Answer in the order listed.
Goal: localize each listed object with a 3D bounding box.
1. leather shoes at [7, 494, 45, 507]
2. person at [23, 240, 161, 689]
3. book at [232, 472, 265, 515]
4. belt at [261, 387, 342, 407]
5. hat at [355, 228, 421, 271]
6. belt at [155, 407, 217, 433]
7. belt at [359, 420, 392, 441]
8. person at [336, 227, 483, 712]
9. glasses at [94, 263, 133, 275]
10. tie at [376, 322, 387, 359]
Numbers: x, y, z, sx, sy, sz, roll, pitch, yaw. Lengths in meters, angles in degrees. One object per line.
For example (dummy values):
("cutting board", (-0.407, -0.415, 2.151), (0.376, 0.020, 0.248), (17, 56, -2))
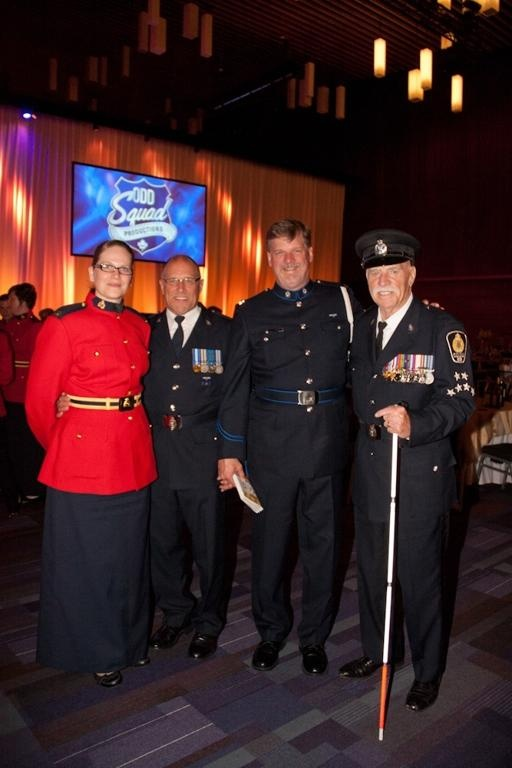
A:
("leather shoes", (-1.688, 0.850, 4.394), (0.218, 0.088, 0.068), (-21, -10, 28))
("person", (-0.555, 0.278, 2.027), (0.430, 1.504, 0.269), (-1, 3, -22))
("book", (0.005, 0.385, 2.029), (0.141, 0.035, 0.144), (41, 3, -46))
("belt", (0.156, 0.046, 2.195), (0.307, 0.068, 0.133), (0, 3, -1))
("hat", (0.438, -0.418, 2.003), (0.156, 0.071, 0.175), (-2, -16, 13))
("belt", (-0.266, 0.139, 2.332), (0.229, 0.078, 0.050), (-1, 3, -16))
("belt", (0.390, 0.149, 1.915), (0.075, 0.025, 0.071), (8, -17, 5))
("person", (0.490, 0.263, 1.955), (0.397, 1.552, 0.493), (1, 3, 7))
("glasses", (-0.472, -0.377, 1.949), (0.119, 0.033, 0.051), (0, 3, -14))
("tie", (0.422, -0.148, 1.993), (0.030, 0.126, 0.019), (5, -18, 13))
